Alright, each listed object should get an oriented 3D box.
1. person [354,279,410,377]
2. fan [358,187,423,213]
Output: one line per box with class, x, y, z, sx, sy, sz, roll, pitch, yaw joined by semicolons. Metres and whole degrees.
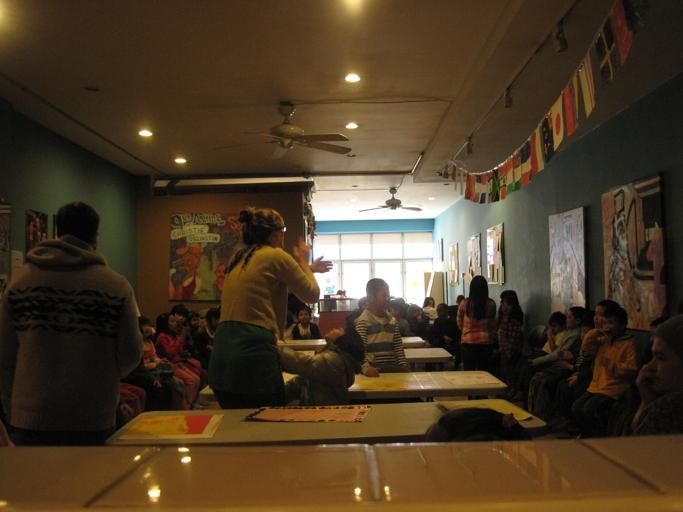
person;0.284;0.683;3.580;0.314;1.047;0.328;-5;13;-15
fan;1.023;-0.989;9.559;0.663;0.254;0.661;-3;-9;22
